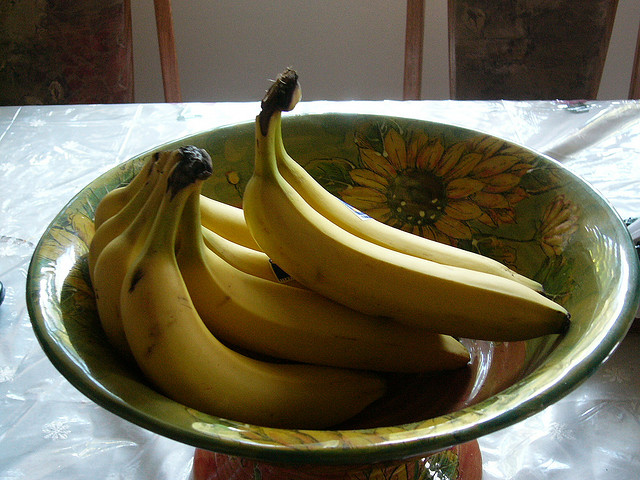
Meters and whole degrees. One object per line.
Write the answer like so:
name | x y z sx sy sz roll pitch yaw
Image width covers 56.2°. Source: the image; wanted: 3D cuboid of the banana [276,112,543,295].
banana | 0.100 -0.003 0.669 0.401 0.059 0.149 22 79 -13

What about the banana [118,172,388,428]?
banana | -0.068 0.081 0.551 0.235 0.207 0.137 16 41 20

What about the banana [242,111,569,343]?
banana | 0.089 -0.021 0.582 0.341 0.224 0.093 18 55 16
